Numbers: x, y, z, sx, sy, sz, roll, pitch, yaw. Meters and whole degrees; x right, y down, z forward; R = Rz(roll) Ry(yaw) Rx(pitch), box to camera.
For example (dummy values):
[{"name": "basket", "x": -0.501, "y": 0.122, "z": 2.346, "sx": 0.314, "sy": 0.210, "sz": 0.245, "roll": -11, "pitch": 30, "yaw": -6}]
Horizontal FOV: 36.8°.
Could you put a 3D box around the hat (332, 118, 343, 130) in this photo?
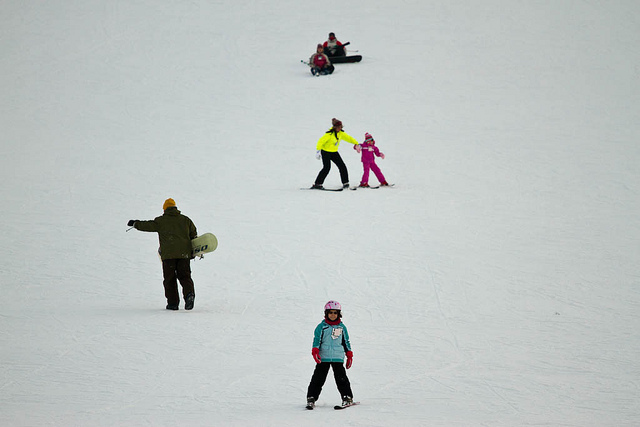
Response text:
[{"name": "hat", "x": 0.362, "y": -1.967, "z": 21.289, "sx": 0.173, "sy": 0.310, "sz": 0.398, "roll": 4, "pitch": -12, "yaw": -3}]

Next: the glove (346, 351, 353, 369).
[{"name": "glove", "x": 0.561, "y": 2.596, "z": 16.944, "sx": 0.107, "sy": 0.275, "sz": 0.217, "roll": 7, "pitch": 2, "yaw": -17}]

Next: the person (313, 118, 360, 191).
[{"name": "person", "x": 0.351, "y": -1.369, "z": 21.545, "sx": 0.820, "sy": 1.360, "sz": 1.169, "roll": 3, "pitch": -13, "yaw": 0}]

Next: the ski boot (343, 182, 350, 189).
[{"name": "ski boot", "x": 0.585, "y": -0.623, "z": 21.871, "sx": 0.146, "sy": 0.069, "sz": 0.198, "roll": 0, "pitch": 0, "yaw": 9}]

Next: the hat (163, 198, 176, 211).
[{"name": "hat", "x": -2.901, "y": -0.161, "z": 18.849, "sx": 0.259, "sy": 0.220, "sz": 0.188, "roll": 5, "pitch": -1, "yaw": -19}]

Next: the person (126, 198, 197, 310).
[{"name": "person", "x": -2.916, "y": 0.771, "z": 18.635, "sx": 1.097, "sy": 2.101, "sz": 0.565, "roll": 5, "pitch": -13, "yaw": -6}]

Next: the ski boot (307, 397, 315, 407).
[{"name": "ski boot", "x": -0.164, "y": 3.361, "z": 17.090, "sx": 0.172, "sy": 0.149, "sz": 0.140, "roll": 3, "pitch": -4, "yaw": -9}]

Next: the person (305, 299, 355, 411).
[{"name": "person", "x": 0.203, "y": 2.531, "z": 17.074, "sx": 0.777, "sy": 1.843, "sz": 0.737, "roll": 3, "pitch": -13, "yaw": 2}]

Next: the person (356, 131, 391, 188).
[{"name": "person", "x": 1.247, "y": -1.163, "z": 21.946, "sx": 0.707, "sy": 1.161, "sz": 2.133, "roll": 2, "pitch": -12, "yaw": 7}]

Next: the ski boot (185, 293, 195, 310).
[{"name": "ski boot", "x": -2.496, "y": 1.704, "z": 18.531, "sx": 0.136, "sy": 0.313, "sz": 0.138, "roll": 8, "pitch": 7, "yaw": -6}]

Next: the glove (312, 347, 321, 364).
[{"name": "glove", "x": -0.078, "y": 2.502, "z": 16.864, "sx": 0.144, "sy": 0.247, "sz": 0.060, "roll": -13, "pitch": -3, "yaw": -40}]

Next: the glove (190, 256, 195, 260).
[{"name": "glove", "x": -2.465, "y": 0.866, "z": 18.642, "sx": 0.083, "sy": 0.020, "sz": 0.075, "roll": 1, "pitch": 15, "yaw": 17}]

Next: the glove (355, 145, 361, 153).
[{"name": "glove", "x": 0.834, "y": -1.401, "z": 21.017, "sx": 0.102, "sy": 0.131, "sz": 0.050, "roll": 8, "pitch": -19, "yaw": -5}]

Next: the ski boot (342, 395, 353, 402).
[{"name": "ski boot", "x": 0.503, "y": 3.307, "z": 17.106, "sx": 0.200, "sy": 0.117, "sz": 0.126, "roll": 8, "pitch": -13, "yaw": -22}]

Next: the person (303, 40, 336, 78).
[{"name": "person", "x": -0.023, "y": -4.036, "z": 25.158, "sx": 0.689, "sy": 1.086, "sz": 0.663, "roll": -1, "pitch": -51, "yaw": -7}]

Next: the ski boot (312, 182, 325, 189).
[{"name": "ski boot", "x": -0.047, "y": -0.610, "z": 22.077, "sx": 0.286, "sy": 0.091, "sz": 0.186, "roll": 7, "pitch": -53, "yaw": 2}]

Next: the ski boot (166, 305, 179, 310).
[{"name": "ski boot", "x": -2.875, "y": 1.858, "z": 18.859, "sx": 0.236, "sy": 0.078, "sz": 0.195, "roll": 4, "pitch": -12, "yaw": -5}]
